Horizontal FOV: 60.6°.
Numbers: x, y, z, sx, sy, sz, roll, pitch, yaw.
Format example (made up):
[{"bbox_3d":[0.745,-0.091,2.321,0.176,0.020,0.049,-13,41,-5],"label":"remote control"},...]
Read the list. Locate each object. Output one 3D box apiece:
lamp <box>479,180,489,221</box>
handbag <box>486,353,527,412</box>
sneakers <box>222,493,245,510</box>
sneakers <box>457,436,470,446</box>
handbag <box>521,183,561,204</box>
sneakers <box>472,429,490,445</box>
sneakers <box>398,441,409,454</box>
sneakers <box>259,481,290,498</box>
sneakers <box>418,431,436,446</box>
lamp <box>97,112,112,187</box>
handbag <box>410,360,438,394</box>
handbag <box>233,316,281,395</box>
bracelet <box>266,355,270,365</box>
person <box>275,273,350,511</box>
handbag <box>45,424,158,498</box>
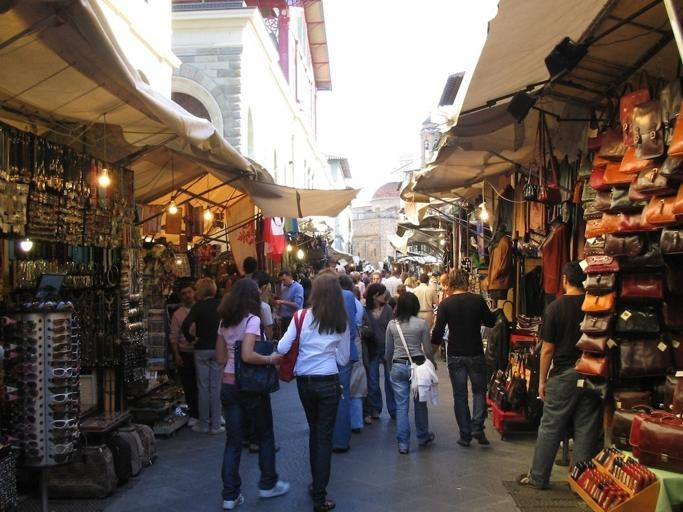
[{"bbox_3d":[2.430,-0.881,9.829,0.164,0.664,1.096,1,3,13],"label":"lamp"},{"bbox_3d":[2.093,1.574,7.306,0.300,0.774,0.799,8,-8,-1],"label":"handbag"},{"bbox_3d":[-0.952,2.185,5.222,0.073,0.093,0.212,1,3,21],"label":"sneakers"},{"bbox_3d":[1.451,2.166,6.908,0.164,0.105,0.170,1,3,20],"label":"sneakers"},{"bbox_3d":[2.203,-0.671,6.436,0.201,0.129,0.344,4,2,41],"label":"handbag"},{"bbox_3d":[1.632,2.141,6.880,0.098,0.129,0.299,-17,-43,37],"label":"sneakers"},{"bbox_3d":[0.724,2.158,6.646,0.123,0.114,0.195,0,3,5],"label":"sneakers"},{"bbox_3d":[-0.625,2.175,5.523,0.298,0.124,0.108,-4,6,-40],"label":"sneakers"},{"bbox_3d":[1.025,2.164,6.996,0.087,0.114,0.259,2,12,25],"label":"sneakers"},{"bbox_3d":[-2.534,-1.051,6.268,0.131,0.636,0.423,-1,3,-23],"label":"lamp"},{"bbox_3d":[0.966,1.376,6.746,0.296,0.382,0.211,0,3,6],"label":"handbag"},{"bbox_3d":[-0.775,0.990,5.364,0.395,0.541,0.265,-1,3,-12],"label":"handbag"},{"bbox_3d":[-0.653,0.934,5.269,0.046,0.056,0.021,7,-12,-39],"label":"bracelet"},{"bbox_3d":[-0.199,1.206,5.285,0.692,2.037,0.582,-1,3,-15],"label":"person"},{"bbox_3d":[-2.351,2.018,5.640,0.412,0.262,0.844,1,0,7],"label":"handbag"}]
